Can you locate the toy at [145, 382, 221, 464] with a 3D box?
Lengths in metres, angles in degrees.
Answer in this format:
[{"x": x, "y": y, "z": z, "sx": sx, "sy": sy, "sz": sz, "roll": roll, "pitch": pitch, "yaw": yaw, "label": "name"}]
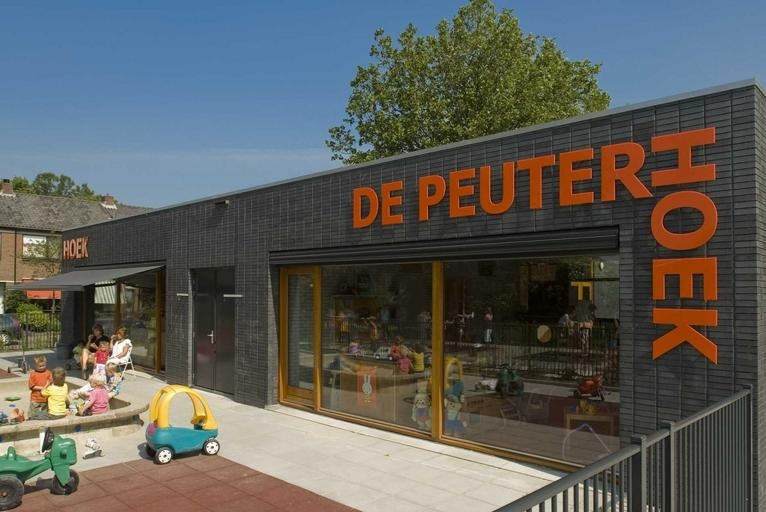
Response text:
[{"x": -3.979, "y": 3.270, "z": 11.225, "sx": 1.324, "sy": 1.493, "sz": 0.789, "roll": -3, "pitch": 4, "yaw": -21, "label": "toy"}]
